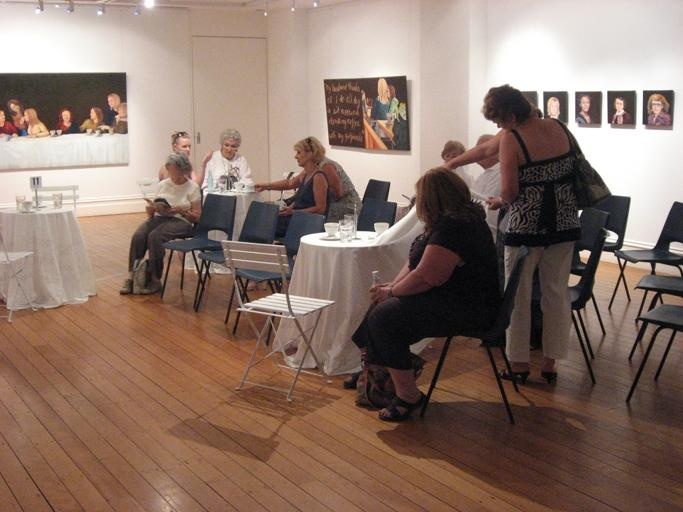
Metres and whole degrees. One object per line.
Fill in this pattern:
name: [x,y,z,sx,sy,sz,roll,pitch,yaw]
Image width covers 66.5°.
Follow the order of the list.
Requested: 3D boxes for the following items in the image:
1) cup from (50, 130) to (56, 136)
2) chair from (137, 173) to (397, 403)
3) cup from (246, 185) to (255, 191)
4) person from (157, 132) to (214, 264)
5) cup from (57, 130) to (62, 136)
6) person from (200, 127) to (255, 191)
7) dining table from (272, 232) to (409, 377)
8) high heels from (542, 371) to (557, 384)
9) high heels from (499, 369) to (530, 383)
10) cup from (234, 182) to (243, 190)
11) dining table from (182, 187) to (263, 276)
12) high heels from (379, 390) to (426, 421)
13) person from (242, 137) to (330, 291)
cup: [-5.598,-2.391,10.094,0.098,0.073,0.094,-2,-1,0]
chair: [-0.387,0.196,4.291,1.169,1.391,1.145,-1,6,-22]
cup: [-1.203,-0.892,6.850,0.085,0.071,0.089,0,3,0]
person: [-2.309,-0.976,7.668,0.688,1.670,0.589,3,14,-19]
cup: [-5.498,-2.404,10.132,0.081,0.069,0.086,0,3,0]
person: [-1.636,-1.272,7.527,0.762,1.103,0.683,3,2,-13]
dining table: [-0.175,0.506,4.111,0.712,0.896,0.874,-5,41,5]
high heels: [1.517,0.871,3.760,0.067,0.115,0.108,-1,0,-38]
high heels: [1.262,0.875,3.765,0.212,0.091,0.117,7,2,18]
cup: [-1.380,-0.933,6.987,0.107,0.105,0.119,0,-1,-24]
dining table: [-1.543,-0.540,6.612,0.620,0.752,0.585,20,-17,-39]
high heels: [0.395,0.941,3.327,0.302,0.172,0.181,-1,13,-1]
person: [-0.546,-0.690,5.849,0.770,1.314,0.530,4,12,-10]
